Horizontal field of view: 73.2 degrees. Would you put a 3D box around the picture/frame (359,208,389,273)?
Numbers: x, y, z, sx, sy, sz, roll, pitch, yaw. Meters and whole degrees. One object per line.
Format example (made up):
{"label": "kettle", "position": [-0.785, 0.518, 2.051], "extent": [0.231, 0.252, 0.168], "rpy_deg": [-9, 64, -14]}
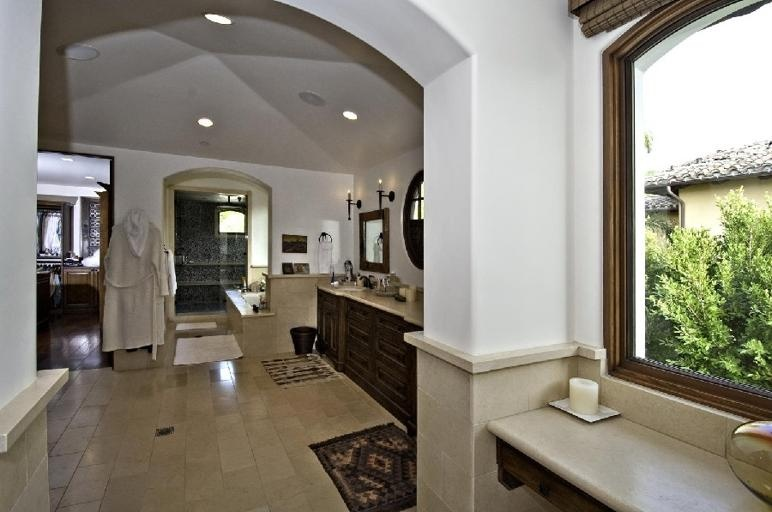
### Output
{"label": "picture/frame", "position": [-0.133, -0.186, 6.169], "extent": [0.056, 0.711, 0.805], "rpy_deg": [-1, 0, -19]}

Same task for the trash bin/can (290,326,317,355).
{"label": "trash bin/can", "position": [-1.011, 1.037, 6.470], "extent": [0.313, 0.242, 0.318], "rpy_deg": [2, 3, 19]}

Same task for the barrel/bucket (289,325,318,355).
{"label": "barrel/bucket", "position": [-1.020, 1.022, 6.413], "extent": [0.319, 0.247, 0.323], "rpy_deg": [2, 2, 0]}

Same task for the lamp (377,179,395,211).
{"label": "lamp", "position": [-0.016, -0.701, 5.904], "extent": [0.148, 0.335, 0.428], "rpy_deg": [-2, 11, -15]}

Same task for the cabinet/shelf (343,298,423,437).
{"label": "cabinet/shelf", "position": [0.081, 0.900, 5.052], "extent": [0.575, 0.952, 1.551], "rpy_deg": [-3, 9, -27]}

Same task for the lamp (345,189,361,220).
{"label": "lamp", "position": [-0.429, -0.649, 6.809], "extent": [0.107, 0.391, 0.378], "rpy_deg": [-4, 12, -24]}

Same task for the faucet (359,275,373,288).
{"label": "faucet", "position": [-0.242, 0.323, 6.290], "extent": [0.112, 0.164, 0.165], "rpy_deg": [0, 2, -37]}

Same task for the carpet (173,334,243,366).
{"label": "carpet", "position": [-2.229, 1.171, 6.446], "extent": [0.771, 0.145, 1.194], "rpy_deg": [-4, 12, -23]}
